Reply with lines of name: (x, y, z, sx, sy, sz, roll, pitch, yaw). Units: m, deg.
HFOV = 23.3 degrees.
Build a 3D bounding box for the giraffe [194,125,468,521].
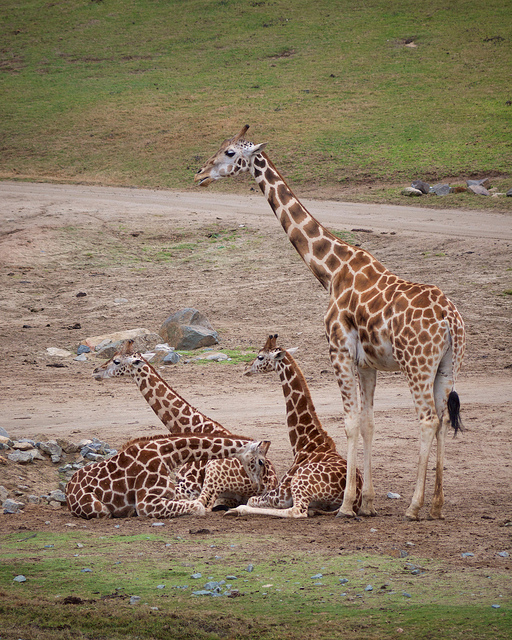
giraffe: (1.058, -0.072, 15.103, 1.760, 4.324, 4.007, -8, 17, -34)
